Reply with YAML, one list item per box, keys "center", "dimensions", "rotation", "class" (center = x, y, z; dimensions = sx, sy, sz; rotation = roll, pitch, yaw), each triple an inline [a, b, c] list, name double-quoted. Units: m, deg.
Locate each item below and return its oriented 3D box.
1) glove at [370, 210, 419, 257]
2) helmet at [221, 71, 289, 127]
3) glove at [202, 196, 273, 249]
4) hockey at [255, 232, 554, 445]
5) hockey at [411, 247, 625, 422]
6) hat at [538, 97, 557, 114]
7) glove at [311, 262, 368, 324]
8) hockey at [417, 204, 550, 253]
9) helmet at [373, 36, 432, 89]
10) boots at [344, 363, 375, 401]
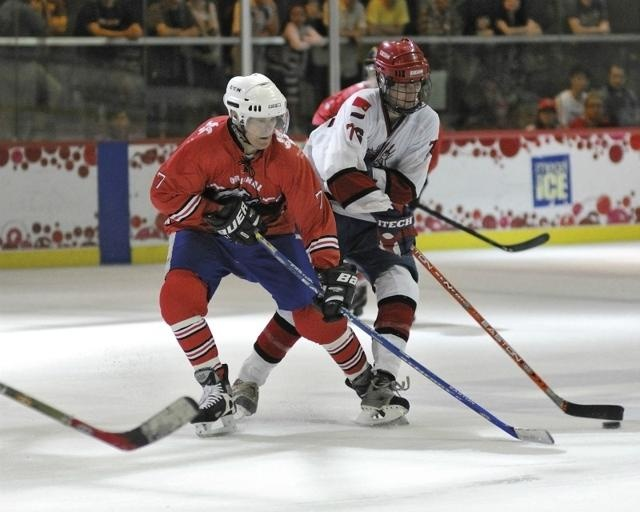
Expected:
- center: [0.298, -0.095, 3.857]
  dimensions: [0.199, 0.176, 0.139]
  rotation: [1, 15, 0]
  class: "glove"
- center: [-0.226, -0.544, 3.529]
  dimensions: [0.226, 0.188, 0.175]
  rotation: [7, 25, 30]
  class: "helmet"
- center: [-0.303, -0.125, 3.603]
  dimensions: [0.190, 0.155, 0.141]
  rotation: [-10, 37, 55]
  class: "glove"
- center: [0.332, 0.346, 4.057]
  dimensions: [1.306, 0.125, 0.171]
  rotation: [29, 45, 19]
  class: "hockey"
- center: [0.713, 0.317, 3.923]
  dimensions: [0.086, 1.077, 0.136]
  rotation: [-56, 20, -25]
  class: "hockey"
- center: [1.811, -1.178, 7.956]
  dimensions: [0.153, 0.081, 0.204]
  rotation: [1, 0, 8]
  class: "hat"
- center: [0.106, 0.129, 3.691]
  dimensions: [0.210, 0.236, 0.268]
  rotation: [9, -3, -21]
  class: "glove"
- center: [1.163, -0.214, 7.212]
  dimensions: [1.159, 0.313, 0.085]
  rotation: [9, -28, -3]
  class: "hockey"
- center: [0.320, -0.739, 3.871]
  dimensions: [0.194, 0.184, 0.224]
  rotation: [-3, 10, -15]
  class: "helmet"
- center: [0.136, 0.433, 3.683]
  dimensions: [0.114, 0.110, 0.084]
  rotation: [-35, 37, -21]
  class: "boots"
